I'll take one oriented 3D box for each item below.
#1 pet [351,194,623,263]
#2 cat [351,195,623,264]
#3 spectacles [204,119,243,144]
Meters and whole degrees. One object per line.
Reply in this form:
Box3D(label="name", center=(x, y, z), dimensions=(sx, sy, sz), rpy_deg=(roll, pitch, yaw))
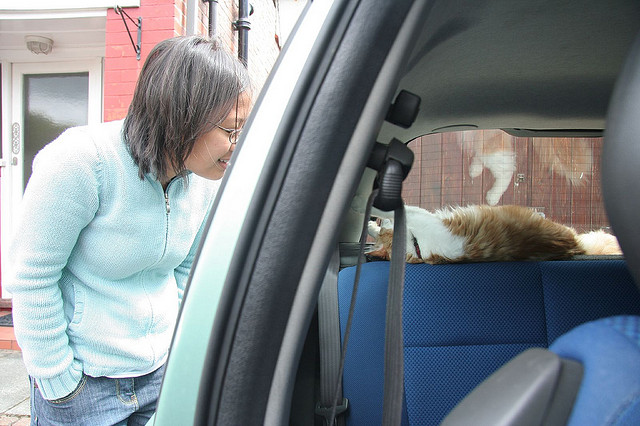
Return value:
Box3D(label="pet", center=(0.746, 0.094, 1.748), dimensions=(0.832, 0.241, 0.180), rpy_deg=(5, 8, -4))
Box3D(label="cat", center=(0.636, -0.025, 2.031), dimensions=(0.779, 0.310, 0.713), rpy_deg=(2, 7, -4))
Box3D(label="spectacles", center=(-0.277, -0.231, 1.328), dimensions=(0.101, 0.031, 0.100), rpy_deg=(27, 4, 1))
